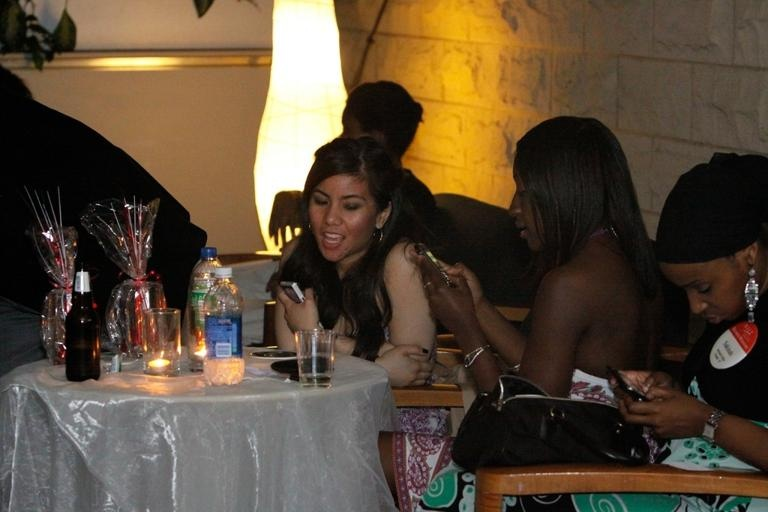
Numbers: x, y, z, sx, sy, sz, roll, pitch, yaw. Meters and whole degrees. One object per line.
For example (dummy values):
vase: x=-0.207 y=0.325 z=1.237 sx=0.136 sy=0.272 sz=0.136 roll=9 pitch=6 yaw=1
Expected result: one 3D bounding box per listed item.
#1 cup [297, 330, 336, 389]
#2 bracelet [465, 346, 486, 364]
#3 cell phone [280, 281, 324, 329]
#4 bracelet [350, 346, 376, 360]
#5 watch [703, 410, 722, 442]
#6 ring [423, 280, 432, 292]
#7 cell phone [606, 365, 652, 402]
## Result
cup: x=-0.235 y=0.363 z=2.494 sx=0.158 sy=0.194 sz=0.130 roll=1 pitch=-3 yaw=-15
bracelet: x=0.359 y=0.402 z=2.869 sx=0.075 sy=0.039 sz=0.067 roll=-31 pitch=25 yaw=3
cell phone: x=-0.356 y=0.223 z=3.003 sx=0.154 sy=0.211 sz=0.064 roll=-18 pitch=10 yaw=37
bracelet: x=-0.093 y=0.431 z=3.159 sx=0.076 sy=0.032 sz=0.057 roll=5 pitch=-2 yaw=35
watch: x=0.991 y=0.510 z=2.145 sx=0.039 sy=0.068 sz=0.069 roll=21 pitch=43 yaw=31
ring: x=0.185 y=0.124 z=2.996 sx=0.029 sy=0.019 sz=0.039 roll=-9 pitch=-29 yaw=-12
cell phone: x=0.776 y=0.414 z=2.258 sx=0.093 sy=0.028 sz=0.098 roll=39 pitch=7 yaw=28
